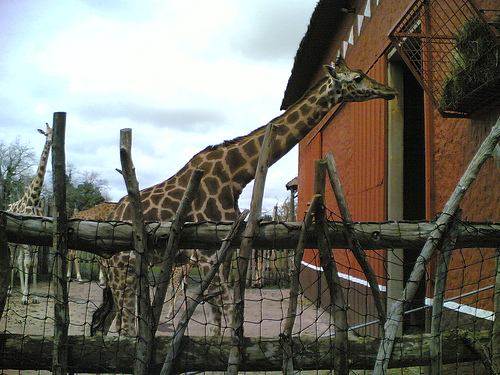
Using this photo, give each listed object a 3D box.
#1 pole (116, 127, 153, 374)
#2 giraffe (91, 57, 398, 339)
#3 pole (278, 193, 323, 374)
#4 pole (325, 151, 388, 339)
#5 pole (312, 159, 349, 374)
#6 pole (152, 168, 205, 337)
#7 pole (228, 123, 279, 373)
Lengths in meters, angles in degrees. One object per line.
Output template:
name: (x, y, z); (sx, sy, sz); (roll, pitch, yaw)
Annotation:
pole: (-1.085, 0.621, 7.106); (0.346, 2.253, 0.721); (1, -14, 4)
giraffe: (-0.234, 0.013, 9.286); (3.105, 3.773, 1.877); (8, -15, -20)
pole: (0.477, 0.928, 7.119); (0.268, 1.697, 0.572); (6, -14, -17)
pole: (1.386, 0.729, 9.295); (0.324, 2.975, 0.336); (-18, -4, 14)
pole: (0.814, 0.826, 7.222); (0.264, 2.351, 0.235); (-4, 2, 16)
pole: (-0.685, 0.566, 7.077); (0.181, 1.448, 0.635); (12, -17, -36)
pole: (0.051, 0.498, 7.093); (0.332, 2.487, 0.740); (4, -14, -9)
